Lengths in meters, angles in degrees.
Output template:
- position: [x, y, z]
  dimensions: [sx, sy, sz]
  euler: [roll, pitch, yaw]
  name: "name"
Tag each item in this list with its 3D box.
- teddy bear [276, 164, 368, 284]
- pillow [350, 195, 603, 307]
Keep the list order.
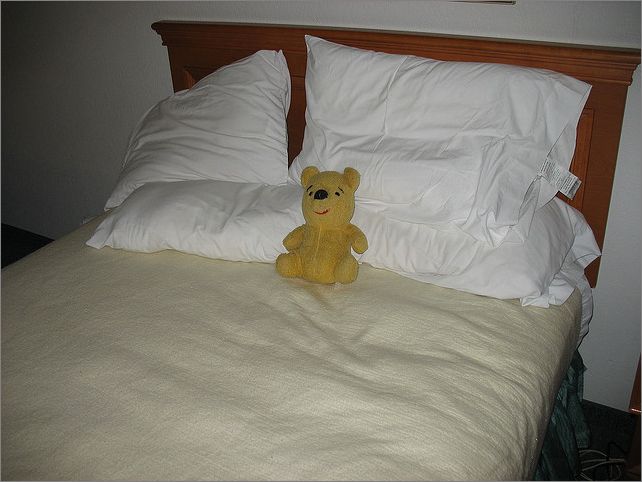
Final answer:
- position: [0.009, -0.055, 1.527]
  dimensions: [0.271, 0.393, 0.217]
  euler: [5, 8, 15]
  name: "teddy bear"
- position: [0.541, 0.060, 1.478]
  dimensions: [0.485, 0.143, 0.445]
  euler: [14, 45, 11]
  name: "pillow"
